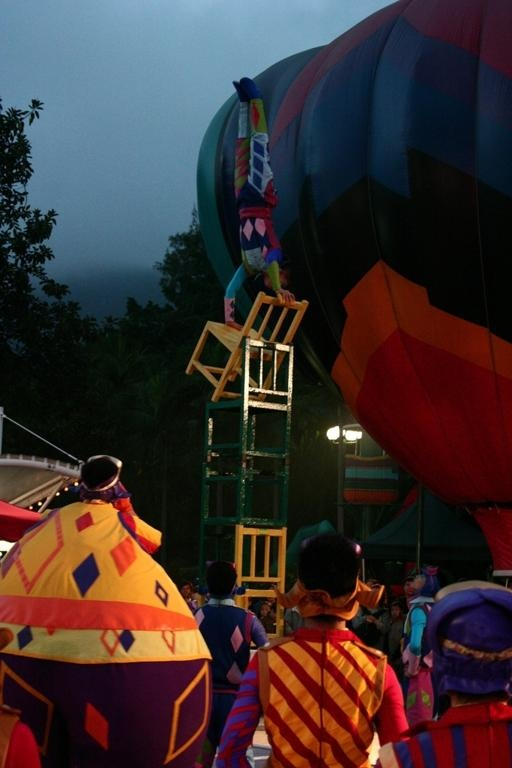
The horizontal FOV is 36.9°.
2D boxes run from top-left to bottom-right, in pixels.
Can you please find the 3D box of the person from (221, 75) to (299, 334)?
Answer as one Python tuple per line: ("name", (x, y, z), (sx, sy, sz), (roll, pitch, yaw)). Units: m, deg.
("person", (0.043, -1.789, 7.778), (0.627, 2.149, 1.369), (2, -17, -2))
